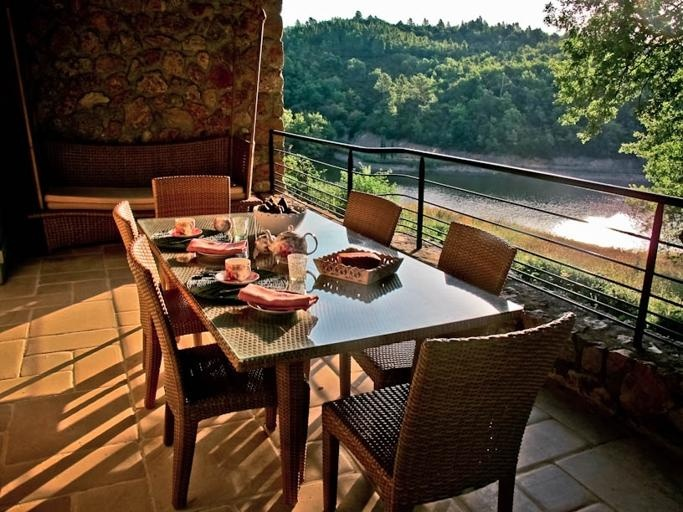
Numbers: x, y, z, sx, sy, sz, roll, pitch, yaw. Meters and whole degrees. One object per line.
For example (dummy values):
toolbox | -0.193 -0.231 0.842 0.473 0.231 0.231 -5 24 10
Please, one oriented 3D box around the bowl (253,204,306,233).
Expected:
bowl | -0.281 -0.210 2.285 0.168 0.078 0.167 4 18 -1

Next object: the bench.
bench | -2.041 -0.709 4.865 2.087 0.963 0.791 -7 29 -21

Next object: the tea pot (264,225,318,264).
tea pot | -0.222 -0.056 2.100 0.216 0.125 0.140 5 16 7

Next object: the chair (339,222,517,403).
chair | 0.343 0.265 2.110 0.551 0.871 0.485 -8 21 -28

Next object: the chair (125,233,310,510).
chair | -0.534 0.455 2.107 0.763 1.118 0.700 1 14 -19
